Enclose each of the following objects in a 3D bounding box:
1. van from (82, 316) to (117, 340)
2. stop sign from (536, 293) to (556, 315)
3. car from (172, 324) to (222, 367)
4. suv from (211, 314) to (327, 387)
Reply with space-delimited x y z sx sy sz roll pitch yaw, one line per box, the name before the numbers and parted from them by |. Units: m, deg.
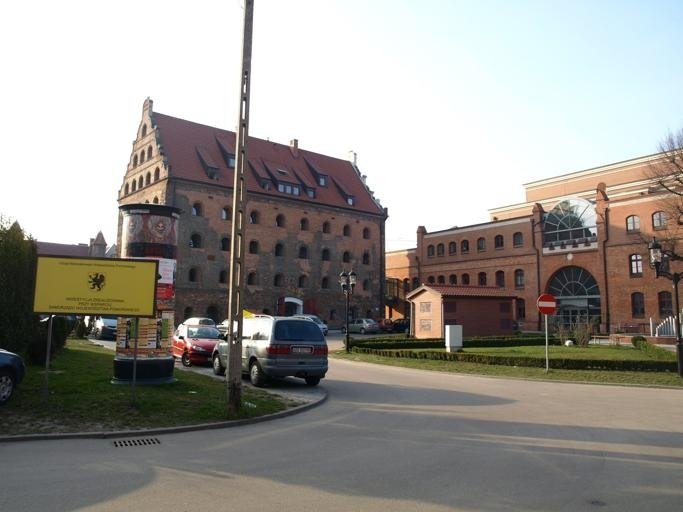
van | -14.703 4.382 37.577 0.813 1.633 4.818 6 -12 -31
stop sign | 7.935 1.834 23.615 0.499 0.785 1.023 -6 -12 31
car | -5.823 3.536 24.404 1.282 1.133 2.296 3 -11 -28
suv | -1.790 2.859 18.595 2.625 2.157 1.418 -2 -10 9
